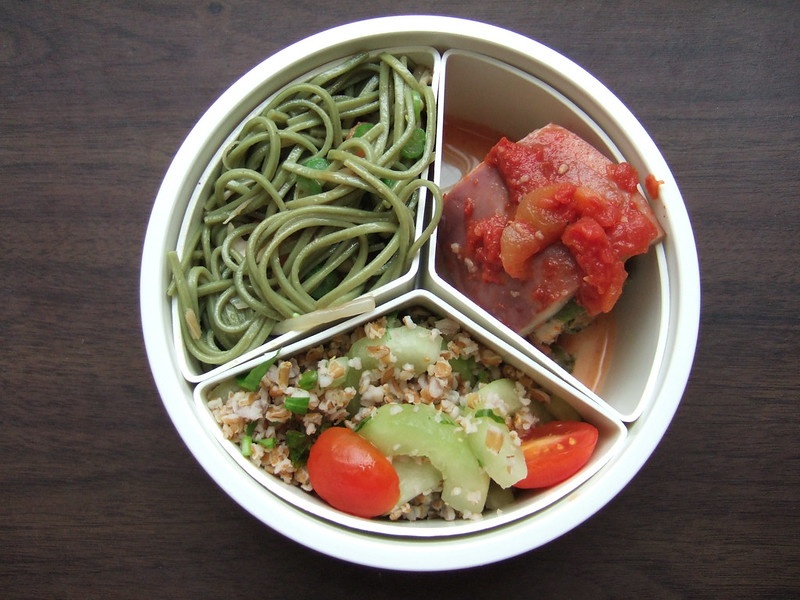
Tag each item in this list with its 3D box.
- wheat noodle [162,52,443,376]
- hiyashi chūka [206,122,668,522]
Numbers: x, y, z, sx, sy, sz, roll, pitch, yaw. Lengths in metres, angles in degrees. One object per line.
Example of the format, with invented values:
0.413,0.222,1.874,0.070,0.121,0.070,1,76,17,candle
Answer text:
-0.357,-0.317,3.325,0.879,0.267,1.221,25,90,2,wheat noodle
0.172,0.074,3.664,1.674,0.474,1.362,6,89,-2,hiyashi chūka
